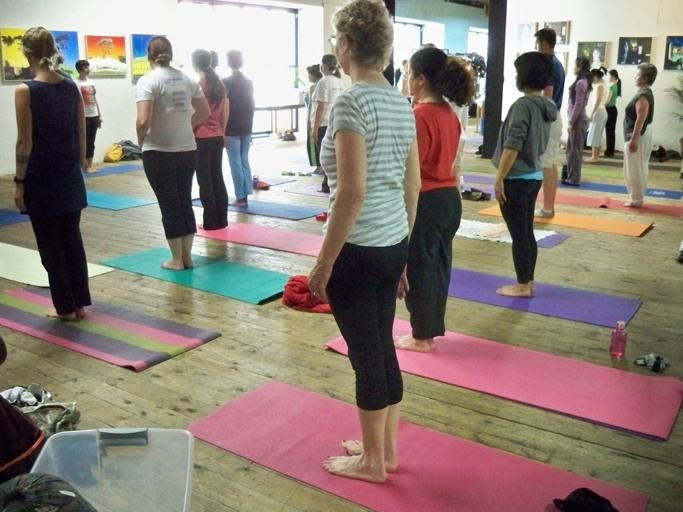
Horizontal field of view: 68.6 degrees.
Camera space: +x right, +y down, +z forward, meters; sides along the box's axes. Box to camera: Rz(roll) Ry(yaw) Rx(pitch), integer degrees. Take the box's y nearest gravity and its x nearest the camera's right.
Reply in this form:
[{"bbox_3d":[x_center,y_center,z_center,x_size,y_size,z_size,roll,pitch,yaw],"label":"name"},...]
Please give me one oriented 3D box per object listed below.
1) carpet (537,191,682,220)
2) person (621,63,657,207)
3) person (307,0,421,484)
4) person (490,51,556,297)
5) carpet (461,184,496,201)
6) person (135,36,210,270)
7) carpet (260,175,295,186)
[{"bbox_3d":[3.927,-0.722,7.338,1.438,0.066,0.388,11,20,28],"label":"carpet"},{"bbox_3d":[4.296,-1.716,7.239,0.421,1.976,0.556,8,22,24],"label":"person"},{"bbox_3d":[0.104,0.028,2.133,0.400,2.058,0.518,2,21,8],"label":"person"},{"bbox_3d":[1.477,-0.604,4.104,0.387,2.000,0.458,6,22,20],"label":"person"},{"bbox_3d":[2.203,-0.981,8.074,0.339,0.141,0.410,7,6,39],"label":"carpet"},{"bbox_3d":[-1.557,-0.806,4.788,0.305,1.878,0.676,16,27,39],"label":"person"},{"bbox_3d":[-1.150,-1.400,9.264,0.627,0.041,0.891,-7,20,-18],"label":"carpet"}]
